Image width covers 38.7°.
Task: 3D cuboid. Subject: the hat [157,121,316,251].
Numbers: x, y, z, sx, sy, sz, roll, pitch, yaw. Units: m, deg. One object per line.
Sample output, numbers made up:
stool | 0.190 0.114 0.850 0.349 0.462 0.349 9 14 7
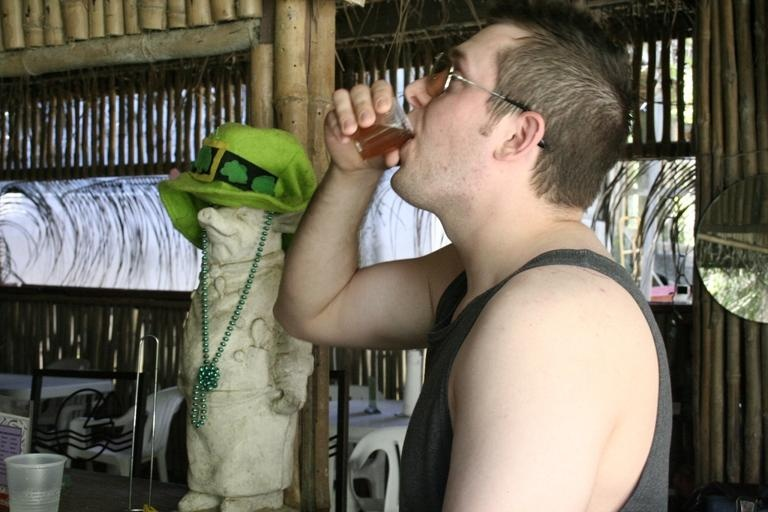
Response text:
hat | -0.671 -0.270 4.893 0.595 0.340 0.619 23 0 41

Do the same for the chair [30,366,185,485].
chair | -1.477 0.962 5.918 0.742 0.790 1.989 1 -2 -11
